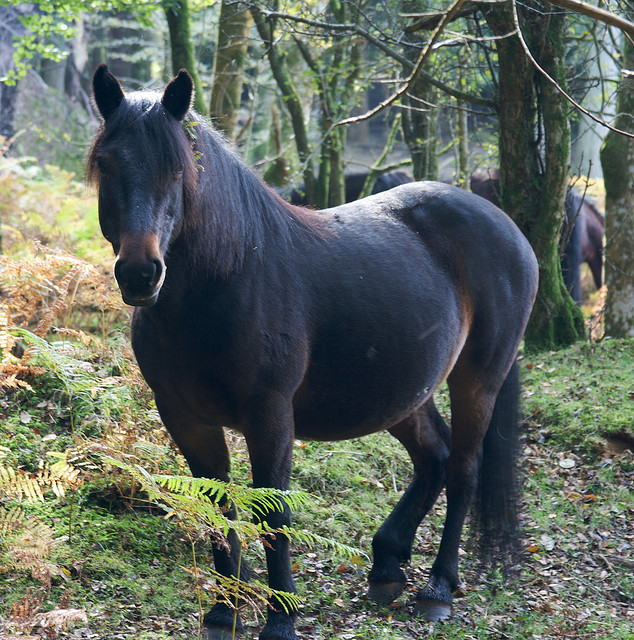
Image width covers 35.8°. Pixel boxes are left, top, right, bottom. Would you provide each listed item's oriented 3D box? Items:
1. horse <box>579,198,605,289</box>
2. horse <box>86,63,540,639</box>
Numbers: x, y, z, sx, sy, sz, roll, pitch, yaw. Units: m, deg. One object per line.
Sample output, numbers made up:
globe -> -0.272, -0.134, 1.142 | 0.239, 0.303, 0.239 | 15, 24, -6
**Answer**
horse -> 4.359, -1.177, 15.616 | 0.434, 1.435, 1.405 | 7, 10, 15
horse -> 0.093, 0.266, 6.395 | 3.020, 3.500, 1.060 | -2, 12, -30
